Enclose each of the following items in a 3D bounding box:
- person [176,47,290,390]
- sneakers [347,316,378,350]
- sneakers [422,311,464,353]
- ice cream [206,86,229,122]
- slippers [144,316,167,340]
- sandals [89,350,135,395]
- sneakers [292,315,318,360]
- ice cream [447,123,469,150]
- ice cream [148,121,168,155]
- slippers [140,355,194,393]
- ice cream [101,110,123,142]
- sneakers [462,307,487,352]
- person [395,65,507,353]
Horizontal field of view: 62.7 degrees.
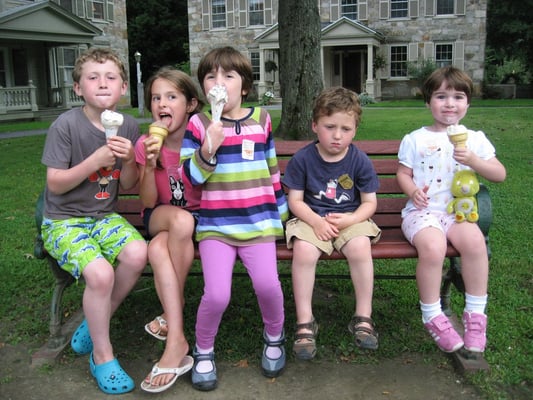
[{"bbox_3d":[-0.197,0.060,2.648,0.653,1.926,0.809,-2,14,2],"label":"person"},{"bbox_3d":[0.566,0.780,2.614,0.103,0.105,0.263,1,1,-5],"label":"sneakers"},{"bbox_3d":[1.022,0.768,2.662,0.128,0.127,0.311,-34,22,-4],"label":"sneakers"},{"bbox_3d":[-0.278,-0.548,2.480,0.101,0.204,0.215,-4,14,-6],"label":"ice cream"},{"bbox_3d":[-0.741,0.834,2.879,0.128,0.073,0.216,28,10,-46],"label":"slippers"},{"bbox_3d":[-0.894,0.999,2.529,0.132,0.113,0.280,-11,17,-36],"label":"sandals"},{"bbox_3d":[0.219,0.817,2.532,0.101,0.112,0.279,-2,3,7],"label":"sneakers"},{"bbox_3d":[1.157,-0.380,2.666,0.135,0.180,0.136,-3,2,-2],"label":"ice cream"},{"bbox_3d":[-0.664,-0.382,2.659,0.134,0.193,0.135,10,-5,-21],"label":"ice cream"},{"bbox_3d":[-0.559,0.986,2.519,0.134,0.093,0.307,13,29,36],"label":"slippers"},{"bbox_3d":[-0.904,-0.443,2.599,0.129,0.173,0.148,11,19,42],"label":"ice cream"},{"bbox_3d":[1.222,0.761,2.610,0.103,0.121,0.301,0,21,9],"label":"sneakers"},{"bbox_3d":[1.173,0.037,2.800,0.638,1.726,0.939,0,15,13],"label":"person"}]
